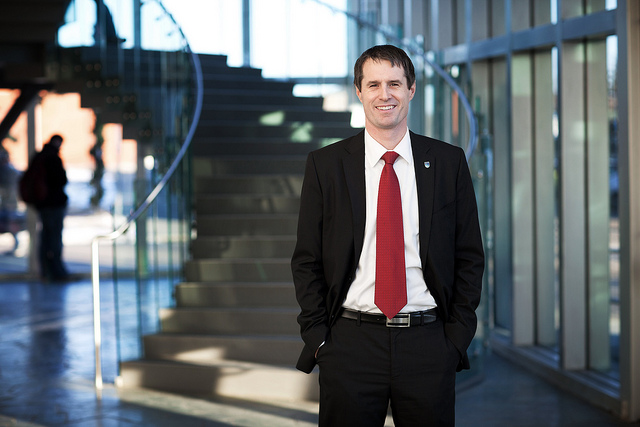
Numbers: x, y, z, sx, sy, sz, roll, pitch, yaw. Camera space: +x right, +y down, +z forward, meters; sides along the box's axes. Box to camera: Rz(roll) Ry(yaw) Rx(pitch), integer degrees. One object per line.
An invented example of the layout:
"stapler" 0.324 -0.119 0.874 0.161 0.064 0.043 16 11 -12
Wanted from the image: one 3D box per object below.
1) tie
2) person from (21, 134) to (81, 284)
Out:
"tie" 0.428 0.164 3.940 0.172 0.856 0.230 1 9 7
"person" -3.886 -0.031 9.472 0.600 2.149 0.340 -5 10 -26
